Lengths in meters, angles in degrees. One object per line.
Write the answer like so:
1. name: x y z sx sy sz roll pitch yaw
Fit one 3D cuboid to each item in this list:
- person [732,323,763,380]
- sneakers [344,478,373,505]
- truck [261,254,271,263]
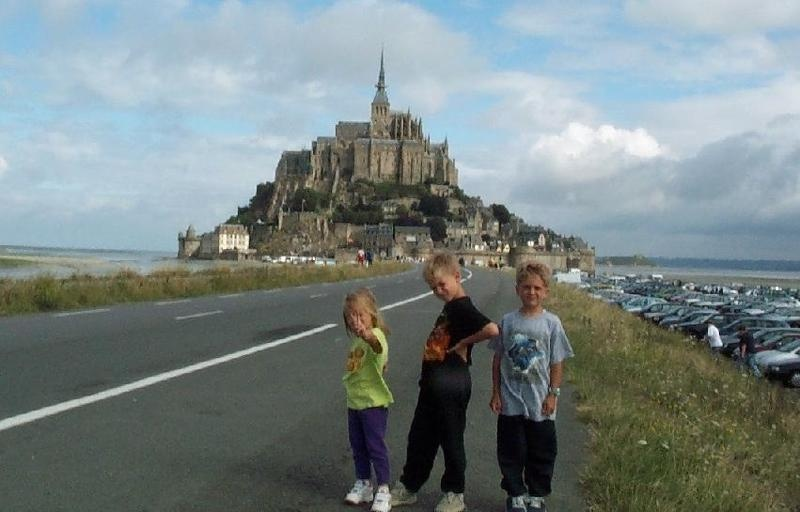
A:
1. person: 11.131 2.905 21.593 0.696 1.541 2.103 1 1 27
2. sneakers: -0.560 3.231 9.308 0.190 0.236 0.496 -10 -21 36
3. truck: -28.546 0.396 145.685 1.456 1.894 3.285 1 4 -7
